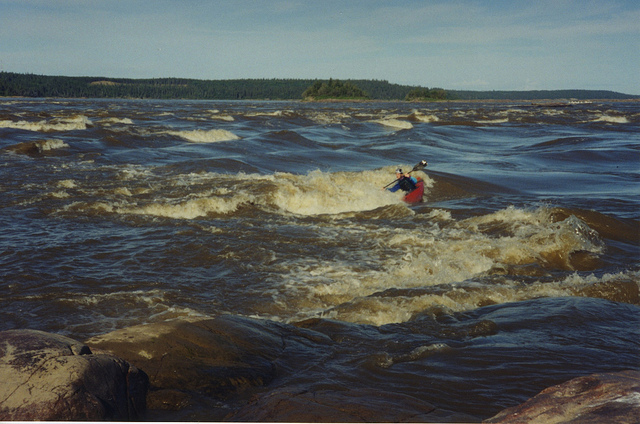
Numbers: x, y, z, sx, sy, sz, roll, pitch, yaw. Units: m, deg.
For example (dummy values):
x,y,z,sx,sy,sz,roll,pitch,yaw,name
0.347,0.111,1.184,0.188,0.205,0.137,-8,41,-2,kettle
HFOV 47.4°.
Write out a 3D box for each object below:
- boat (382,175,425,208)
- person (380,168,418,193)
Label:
x,y,z,sx,sy,sz,roll,pitch,yaw,name
2.776,-0.725,24.420,1.331,0.821,1.594,0,9,5,boat
2.701,-1.062,25.410,1.113,0.557,0.628,31,24,26,person
